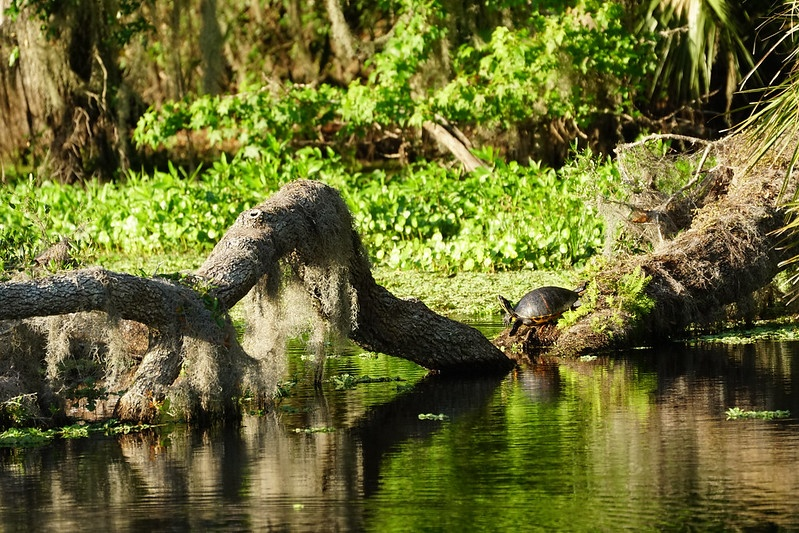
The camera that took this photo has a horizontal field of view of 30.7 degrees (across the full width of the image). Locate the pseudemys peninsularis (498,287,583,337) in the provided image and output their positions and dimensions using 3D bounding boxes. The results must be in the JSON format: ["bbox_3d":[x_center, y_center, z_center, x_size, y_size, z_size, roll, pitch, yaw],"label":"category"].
[{"bbox_3d":[1.772,0.490,18.356,0.803,0.298,0.576,-22,18,-8],"label":"pseudemys peninsularis"}]
